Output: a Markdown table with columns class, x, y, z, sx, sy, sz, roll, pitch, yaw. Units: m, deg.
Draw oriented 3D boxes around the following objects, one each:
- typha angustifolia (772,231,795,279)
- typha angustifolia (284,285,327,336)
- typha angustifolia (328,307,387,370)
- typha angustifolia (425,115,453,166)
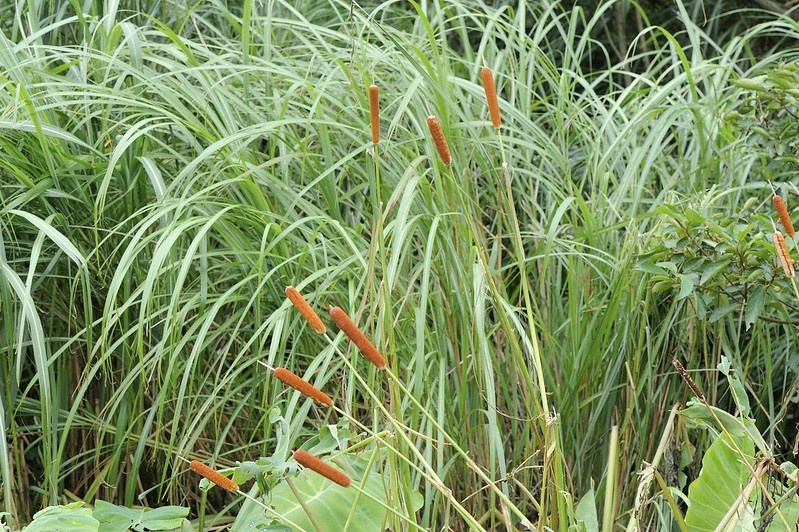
| class | x | y | z | sx | sy | sz | roll | pitch | yaw |
| --- | --- | --- | --- | --- | --- | --- | --- | --- | --- |
| typha angustifolia | 0.801 | -0.024 | 2.004 | 0.028 | 0.110 | 0.029 | -8 | -16 | -40 |
| typha angustifolia | -0.208 | 0.098 | 2.099 | 0.024 | 0.117 | 0.030 | -29 | 5 | 36 |
| typha angustifolia | -0.087 | 0.156 | 2.043 | 0.031 | 0.162 | 0.035 | -31 | 18 | 12 |
| typha angustifolia | 0.078 | -0.228 | 1.797 | 0.033 | 0.034 | 0.147 | -27 | 48 | 26 |
